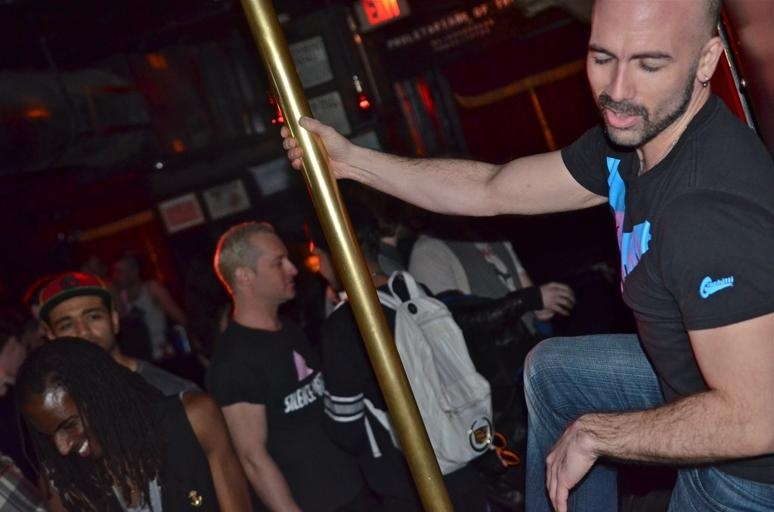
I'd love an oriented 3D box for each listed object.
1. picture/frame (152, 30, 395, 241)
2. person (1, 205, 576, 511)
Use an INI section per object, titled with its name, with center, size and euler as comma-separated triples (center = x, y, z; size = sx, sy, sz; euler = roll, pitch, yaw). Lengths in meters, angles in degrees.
[picture/frame]
center = -0.449, -0.444, 2.376
size = 0.644, 0.636, 0.375
euler = -22, -4, -3
[person]
center = -0.448, 0.402, 2.472
size = 2.080, 0.688, 0.693
euler = -3, 17, -7
